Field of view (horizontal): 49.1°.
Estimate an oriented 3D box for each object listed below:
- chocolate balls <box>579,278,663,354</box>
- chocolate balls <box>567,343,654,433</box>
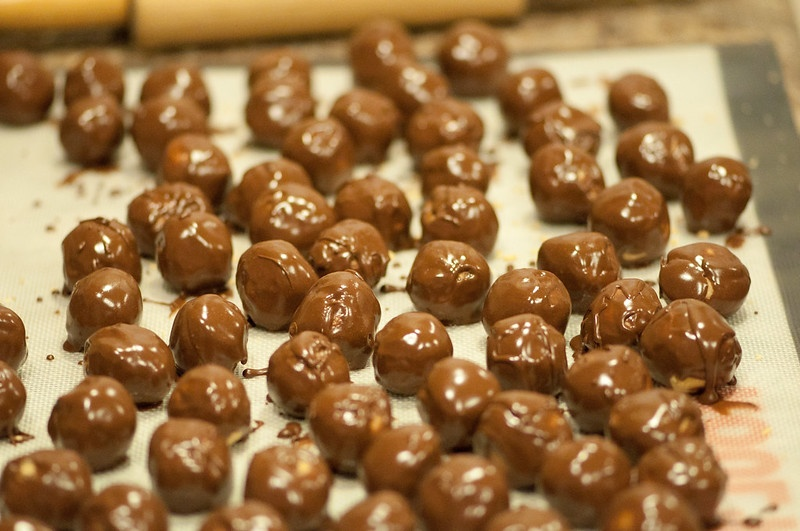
[{"bbox_3d":[0.622,0.153,2.505,0.131,0.225,0.177,44,-5,34],"label":"chocolate balls"},{"bbox_3d":[0.547,0.282,2.272,0.176,0.131,0.237,21,48,21],"label":"chocolate balls"}]
